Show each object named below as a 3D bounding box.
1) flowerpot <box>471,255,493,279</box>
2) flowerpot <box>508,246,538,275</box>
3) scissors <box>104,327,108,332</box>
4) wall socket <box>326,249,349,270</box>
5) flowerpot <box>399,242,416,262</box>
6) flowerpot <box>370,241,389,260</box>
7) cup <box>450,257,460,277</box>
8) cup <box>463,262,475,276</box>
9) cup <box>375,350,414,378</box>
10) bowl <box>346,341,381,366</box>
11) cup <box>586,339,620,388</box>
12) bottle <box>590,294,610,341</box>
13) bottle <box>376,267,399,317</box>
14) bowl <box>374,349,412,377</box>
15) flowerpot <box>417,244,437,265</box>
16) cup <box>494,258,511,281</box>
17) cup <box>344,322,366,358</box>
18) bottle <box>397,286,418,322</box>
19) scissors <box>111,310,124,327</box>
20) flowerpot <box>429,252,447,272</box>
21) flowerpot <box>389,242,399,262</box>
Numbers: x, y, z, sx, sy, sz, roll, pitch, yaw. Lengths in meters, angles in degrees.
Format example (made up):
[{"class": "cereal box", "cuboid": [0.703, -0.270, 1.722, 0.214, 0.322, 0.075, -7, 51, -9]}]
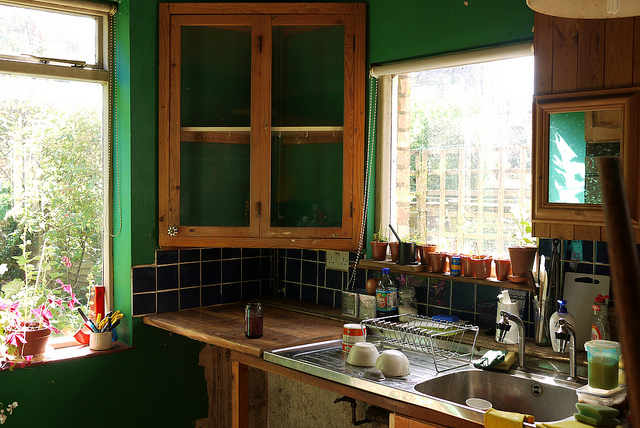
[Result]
[{"class": "flowerpot", "cuboid": [0.885, 0.288, 2.662, 0.115, 0.105, 0.112, -1, 0, 42]}, {"class": "flowerpot", "cuboid": [1.046, 0.239, 2.542, 0.141, 0.137, 0.141, 1, 0, -3]}, {"class": "scissors", "cuboid": [-1.355, 0.732, 3.096, 0.031, 0.028, 0.007, 3, -10, -20]}, {"class": "wall socket", "cuboid": [0.115, 0.313, 3.327, 0.194, 0.132, 0.033, 0, 1, 43]}, {"class": "flowerpot", "cuboid": [0.522, 0.227, 2.969, 0.114, 0.099, 0.090, 1, -3, 3]}, {"class": "flowerpot", "cuboid": [0.370, 0.234, 3.086, 0.109, 0.094, 0.107, 0, 1, -12]}, {"class": "cup", "cuboid": [0.762, 0.297, 2.767, 0.048, 0.102, 0.038, 0, 0, 23]}, {"class": "cup", "cuboid": [0.826, 0.304, 2.709, 0.069, 0.072, 0.068, 0, 2, 0]}, {"class": "cup", "cuboid": [0.358, 0.717, 2.345, 0.162, 0.086, 0.161, -3, -6, 0]}, {"class": "bowl", "cuboid": [0.216, 0.684, 2.414, 0.115, 0.062, 0.114, 1, 1, 0]}, {"class": "cup", "cuboid": [1.192, 0.652, 2.096, 0.144, 0.201, 0.137, 3, -6, 0]}, {"class": "bottle", "cuboid": [1.320, 0.486, 2.309, 0.075, 0.188, 0.126, 0, 0, 30]}, {"class": "bottle", "cuboid": [0.408, 0.499, 2.997, 0.175, 0.327, 0.177, -1, -5, 0]}, {"class": "bowl", "cuboid": [0.354, 0.697, 2.316, 0.122, 0.066, 0.121, 1, 4, 0]}, {"class": "flowerpot", "cuboid": [0.626, 0.236, 2.859, 0.111, 0.099, 0.108, 1, 3, 11]}, {"class": "cup", "cuboid": [0.973, 0.297, 2.615, 0.102, 0.103, 0.102, 0, 1, 0]}, {"class": "cup", "cuboid": [0.157, 0.682, 2.645, 0.132, 0.133, 0.130, 4, -15, 1]}, {"class": "bottle", "cuboid": [0.524, 0.517, 2.935, 0.119, 0.182, 0.087, 0, 0, 8]}, {"class": "scissors", "cuboid": [-1.317, 0.668, 3.132, 0.032, 0.057, 0.158, 26, 6, -4]}, {"class": "flowerpot", "cuboid": [0.683, 0.280, 2.836, 0.103, 0.092, 0.099, 1, 4, -25]}, {"class": "flowerpot", "cuboid": [0.458, 0.234, 3.035, 0.055, 0.112, 0.138, 0, 1, 7]}]
